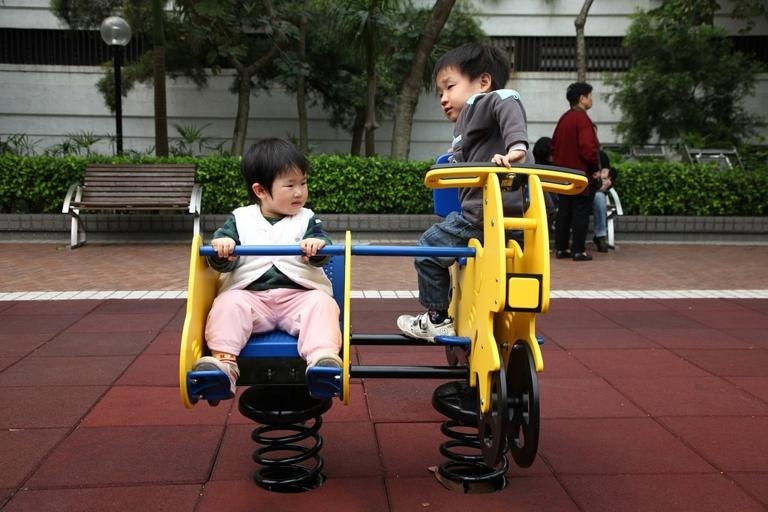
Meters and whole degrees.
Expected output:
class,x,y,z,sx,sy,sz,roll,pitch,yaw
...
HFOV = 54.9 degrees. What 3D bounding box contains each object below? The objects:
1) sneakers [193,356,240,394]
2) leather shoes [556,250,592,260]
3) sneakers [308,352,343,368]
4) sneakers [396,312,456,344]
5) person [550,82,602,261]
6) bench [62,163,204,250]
class,x,y,z,sx,sy,sz,roll,pitch,yaw
sneakers,-1.009,0.749,4.643,0.351,0.151,0.158,12,-33,-29
leather shoes,2.701,0.004,10.575,0.293,0.108,0.215,-4,-2,14
sneakers,-0.375,0.665,4.634,0.213,0.083,0.111,0,11,-2
sneakers,0.262,0.525,5.403,0.458,0.227,0.166,5,8,30
person,2.752,-1.196,10.374,0.756,2.519,0.928,2,-2,-23
bench,-3.790,-0.795,11.212,1.877,1.193,1.704,-3,11,-15
